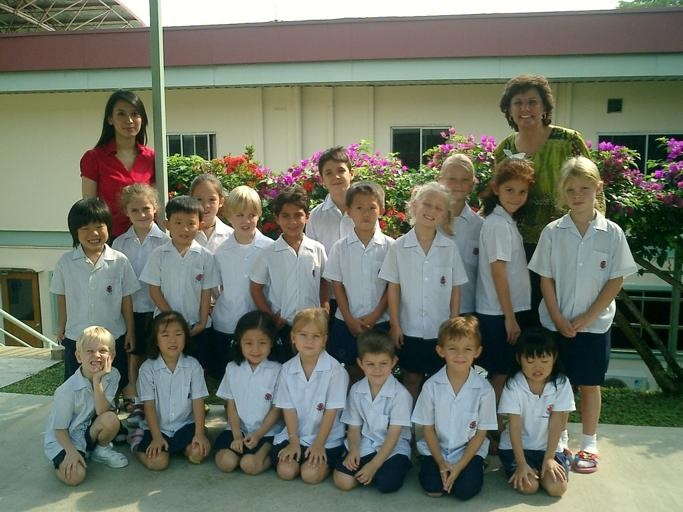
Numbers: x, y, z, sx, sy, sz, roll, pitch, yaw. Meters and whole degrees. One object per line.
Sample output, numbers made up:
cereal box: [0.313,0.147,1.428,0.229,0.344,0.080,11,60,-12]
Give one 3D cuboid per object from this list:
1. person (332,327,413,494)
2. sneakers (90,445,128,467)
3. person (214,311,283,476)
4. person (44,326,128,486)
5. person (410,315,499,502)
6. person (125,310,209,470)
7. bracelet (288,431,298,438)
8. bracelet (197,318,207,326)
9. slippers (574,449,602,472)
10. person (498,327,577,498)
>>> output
person: [0.243,1.171,5.629,0.567,1.159,0.396,0,4,8]
sneakers: [-1.816,1.558,5.788,0.303,0.134,0.136,9,12,12]
person: [-0.745,1.062,5.823,0.524,1.203,0.490,-1,4,-6]
person: [-2.003,1.139,5.698,0.591,1.140,0.438,-2,4,-25]
person: [0.874,1.125,5.662,0.647,1.297,0.616,1,4,11]
person: [-1.380,1.053,5.854,0.597,1.178,0.433,-1,4,-16]
bracelet: [-0.385,1.396,5.734,0.050,0.041,0.042,-7,-9,28]
bracelet: [-1.206,0.570,6.252,0.085,0.061,0.047,5,-39,-14]
slippers: [1.897,1.585,5.662,0.202,0.146,0.142,1,4,10]
person: [1.479,1.160,5.588,0.555,1.192,0.461,1,4,16]
